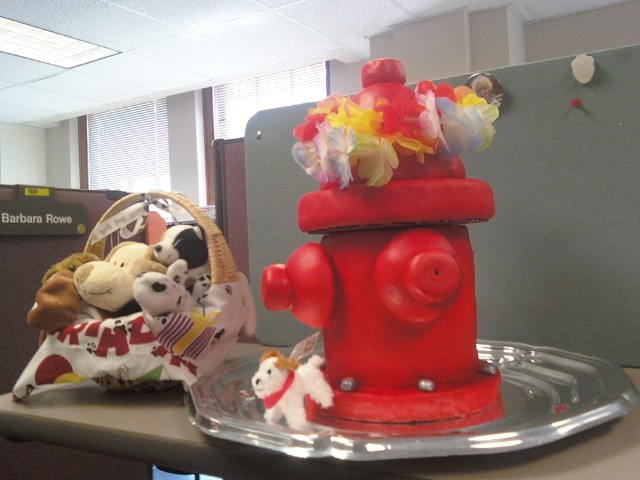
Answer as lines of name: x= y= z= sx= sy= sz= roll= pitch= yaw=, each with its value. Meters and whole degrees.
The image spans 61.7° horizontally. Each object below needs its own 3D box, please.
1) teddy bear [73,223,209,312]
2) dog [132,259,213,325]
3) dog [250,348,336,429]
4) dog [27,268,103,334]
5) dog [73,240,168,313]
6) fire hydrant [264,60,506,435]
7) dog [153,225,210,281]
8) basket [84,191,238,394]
teddy bear: x=-0.266 y=0.038 z=0.771 sx=0.163 sy=0.119 sz=0.215 roll=-5 pitch=3 yaw=-34
dog: x=-0.184 y=0.065 z=0.702 sx=0.043 sy=0.078 sz=0.115 roll=-1 pitch=4 yaw=36
dog: x=-0.045 y=0.162 z=0.609 sx=0.068 sy=0.083 sz=0.107 roll=-2 pitch=-4 yaw=7
dog: x=-0.342 y=0.083 z=0.727 sx=0.079 sy=0.083 sz=0.061 roll=-3 pitch=3 yaw=8
dog: x=-0.276 y=0.050 z=0.770 sx=0.089 sy=0.057 sz=0.124 roll=36 pitch=53 yaw=12
fire hydrant: x=0.080 y=0.011 z=0.707 sx=0.334 sy=0.474 sz=0.323 roll=0 pitch=-1 yaw=1
dog: x=-0.195 y=0.012 z=0.757 sx=0.063 sy=0.084 sz=0.082 roll=21 pitch=21 yaw=37
basket: x=-0.216 y=0.077 z=0.858 sx=0.283 sy=0.272 sz=0.268 roll=0 pitch=2 yaw=-18
